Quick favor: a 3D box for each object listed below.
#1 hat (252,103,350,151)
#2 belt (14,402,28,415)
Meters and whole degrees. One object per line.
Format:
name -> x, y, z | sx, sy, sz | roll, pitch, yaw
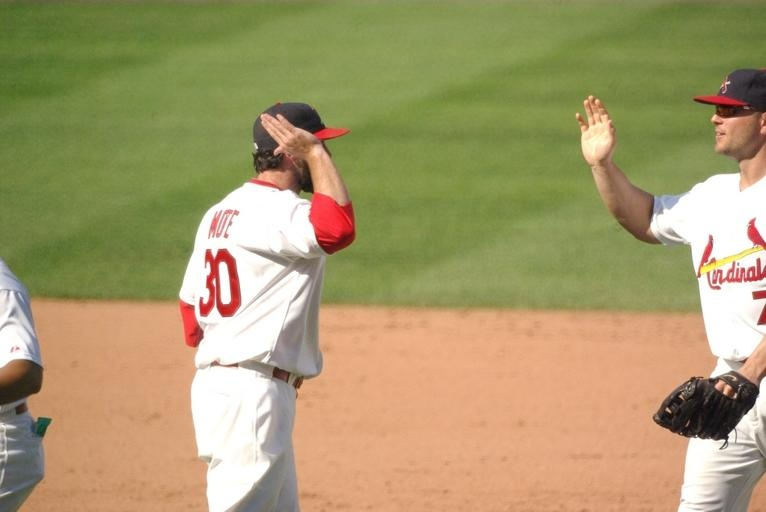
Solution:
hat -> -0.967, -1.521, 20.913 | 0.953, 0.366, 0.564 | -10, 10, 1
belt -> -4.137, 1.741, 20.685 | 0.126, 0.087, 0.123 | 0, -4, -7
